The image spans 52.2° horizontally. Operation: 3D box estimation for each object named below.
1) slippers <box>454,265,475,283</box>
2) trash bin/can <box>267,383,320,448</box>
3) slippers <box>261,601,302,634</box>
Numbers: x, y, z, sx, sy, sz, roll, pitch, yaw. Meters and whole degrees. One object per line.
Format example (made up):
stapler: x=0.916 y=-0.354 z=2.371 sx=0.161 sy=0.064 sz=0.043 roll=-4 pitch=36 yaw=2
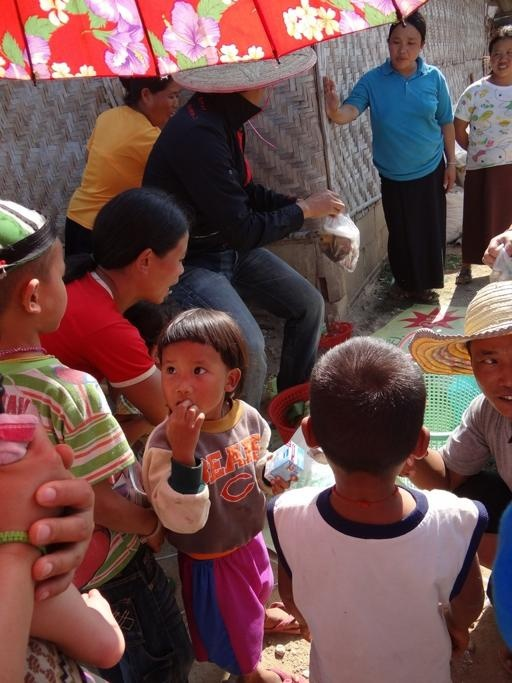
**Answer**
slippers: x=2.015 y=-0.641 z=5.060 sx=0.091 sy=0.161 sz=0.246 roll=3 pitch=24 yaw=31
trash bin/can: x=0.286 y=0.390 z=2.871 sx=0.360 sy=0.246 sz=0.327 roll=1 pitch=54 yaw=11
slippers: x=0.100 y=1.034 z=1.972 sx=0.128 sy=0.099 sz=0.135 roll=-10 pitch=18 yaw=11
